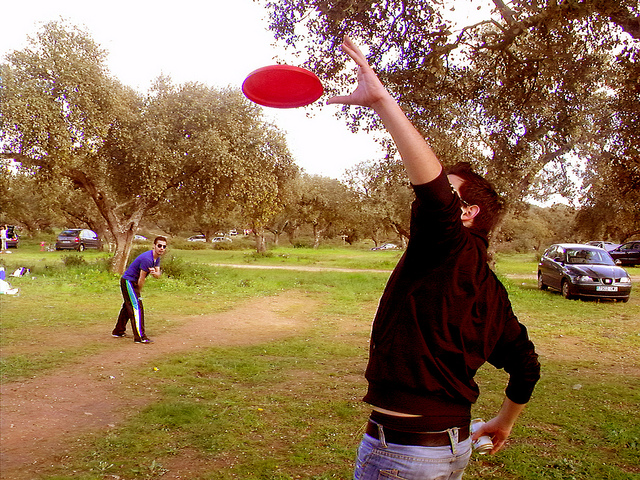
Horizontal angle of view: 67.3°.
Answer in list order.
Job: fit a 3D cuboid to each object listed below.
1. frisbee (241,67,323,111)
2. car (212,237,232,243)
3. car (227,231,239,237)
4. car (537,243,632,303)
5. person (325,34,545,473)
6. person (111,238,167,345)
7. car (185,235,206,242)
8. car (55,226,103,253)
[{"bbox_3d":[-0.329,-1.234,3.841,0.571,0.116,0.563,-6,-13,12],"label":"frisbee"},{"bbox_3d":[-16.224,-0.101,78.664,2.137,0.617,1.279,-5,-1,22],"label":"car"},{"bbox_3d":[-19.389,-1.409,105.178,1.889,0.833,2.163,-1,2,-11],"label":"car"},{"bbox_3d":[10.770,1.302,19.432,2.495,2.115,3.086,4,5,14],"label":"car"},{"bbox_3d":[0.896,0.199,3.603,1.434,3.143,0.595,-1,7,-32],"label":"person"},{"bbox_3d":[-4.146,1.072,10.850,1.107,2.344,1.181,0,6,-22],"label":"person"},{"bbox_3d":[-21.343,-0.332,82.118,3.241,0.933,1.426,5,-6,-35],"label":"car"},{"bbox_3d":[-20.852,-0.078,41.565,2.463,1.525,4.170,1,5,6],"label":"car"}]
